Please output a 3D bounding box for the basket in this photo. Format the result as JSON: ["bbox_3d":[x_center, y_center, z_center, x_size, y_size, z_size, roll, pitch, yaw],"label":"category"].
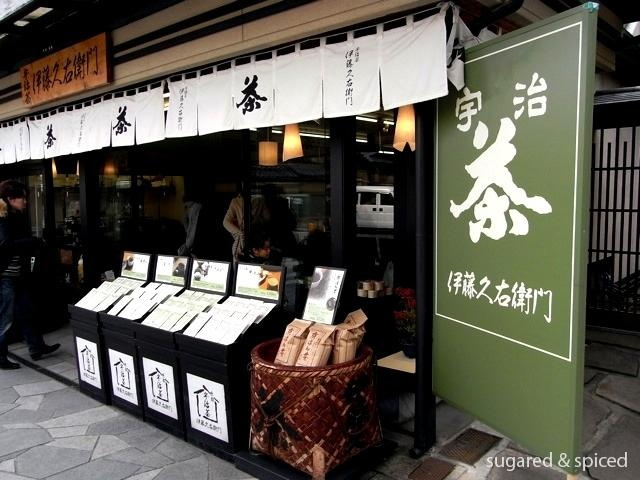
[{"bbox_3d":[-0.033,1.563,4.633,1.085,0.984,1.114,4,7,39],"label":"basket"}]

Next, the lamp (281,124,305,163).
[{"bbox_3d":[-0.393,-1.308,6.098,0.334,0.467,0.142,6,11,42],"label":"lamp"}]

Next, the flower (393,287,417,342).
[{"bbox_3d":[1.014,0.899,5.505,0.249,0.629,0.523,0,9,9],"label":"flower"}]

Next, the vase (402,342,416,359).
[{"bbox_3d":[1.030,1.299,5.312,0.154,0.130,0.162,1,-7,-6],"label":"vase"}]

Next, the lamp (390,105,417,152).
[{"bbox_3d":[1.059,-1.386,5.567,0.196,0.506,0.372,-8,11,-37],"label":"lamp"}]
